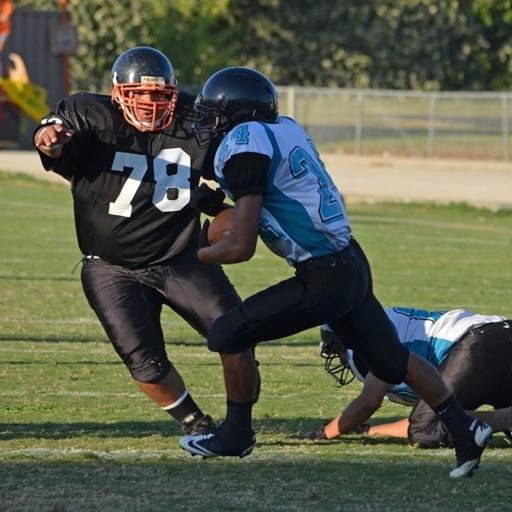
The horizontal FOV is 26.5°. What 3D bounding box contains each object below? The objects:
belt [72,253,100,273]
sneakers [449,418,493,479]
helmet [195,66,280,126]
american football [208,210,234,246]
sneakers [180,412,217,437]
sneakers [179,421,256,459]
[{"bbox_3d":[-0.989,0.010,6.242,0.180,0.167,0.078,5,5,-4],"label":"belt"},{"bbox_3d":[0.844,0.787,4.402,0.151,0.247,0.164,9,13,28],"label":"sneakers"},{"bbox_3d":[-0.125,-0.707,4.526,0.427,0.238,0.270,-2,20,-20],"label":"helmet"},{"bbox_3d":[-0.156,-0.154,4.504,0.102,0.159,0.212,2,10,-3],"label":"american football"},{"bbox_3d":[-0.260,0.754,4.826,0.163,0.085,0.100,1,-8,3],"label":"sneakers"},{"bbox_3d":[-0.152,0.770,4.552,0.384,0.136,0.119,-6,7,29],"label":"sneakers"}]
